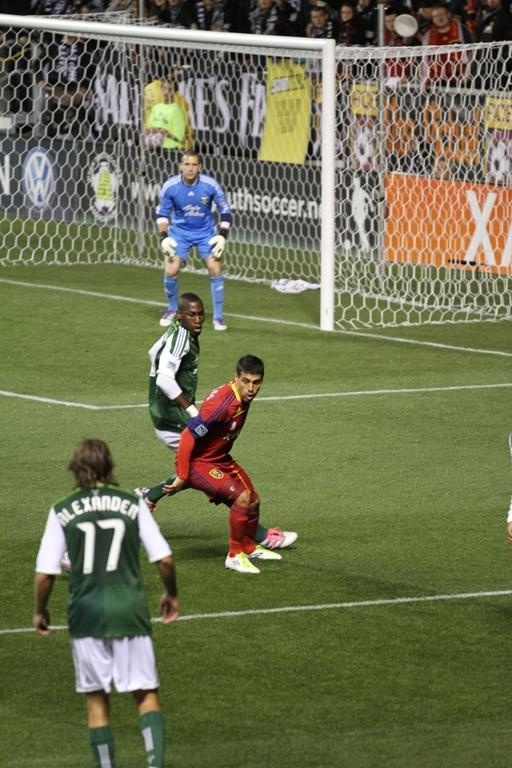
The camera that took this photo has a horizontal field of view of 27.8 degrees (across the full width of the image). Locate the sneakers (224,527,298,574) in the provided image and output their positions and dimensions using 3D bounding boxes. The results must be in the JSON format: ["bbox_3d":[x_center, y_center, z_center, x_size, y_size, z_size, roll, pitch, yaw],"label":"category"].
[{"bbox_3d":[0.046,0.920,5.673,0.479,0.190,0.157,-15,23,-24],"label":"sneakers"}]

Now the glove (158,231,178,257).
[{"bbox_3d":[-1.010,-1.577,11.941,0.088,0.200,0.275,-13,-27,-4],"label":"glove"}]

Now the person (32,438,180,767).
[{"bbox_3d":[-0.443,0.626,3.119,0.441,0.890,0.473,-3,13,-13],"label":"person"}]

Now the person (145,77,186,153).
[{"bbox_3d":[-1.520,-4.507,17.347,0.746,1.151,0.910,-1,13,-4],"label":"person"}]

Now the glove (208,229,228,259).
[{"bbox_3d":[-0.460,-1.637,12.187,0.193,0.355,0.544,0,12,-3],"label":"glove"}]

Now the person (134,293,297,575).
[{"bbox_3d":[-0.262,0.234,5.813,0.673,1.400,1.136,-4,13,-20],"label":"person"}]

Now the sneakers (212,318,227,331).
[{"bbox_3d":[-0.461,-0.733,12.643,0.139,0.135,0.349,1,8,0],"label":"sneakers"}]
